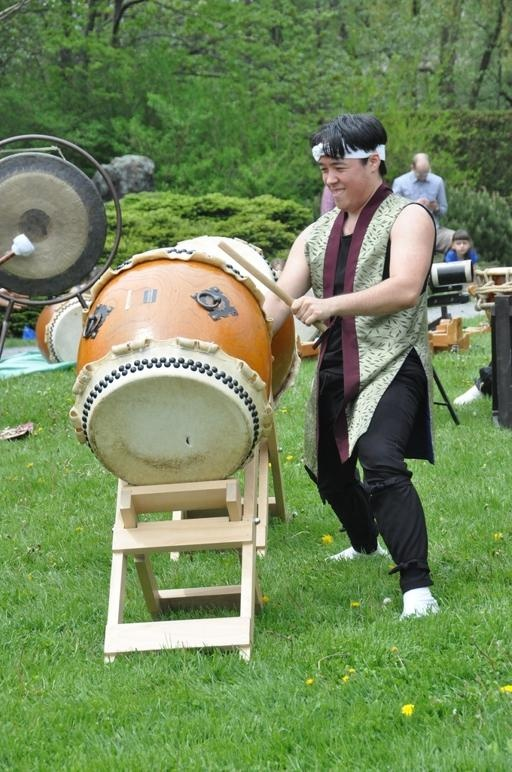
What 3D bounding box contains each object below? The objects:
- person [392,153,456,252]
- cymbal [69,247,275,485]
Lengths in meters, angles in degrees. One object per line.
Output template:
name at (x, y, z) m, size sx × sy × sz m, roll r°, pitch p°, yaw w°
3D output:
person at (1.809, -1.954, 9.769) m, size 0.848 × 1.056 × 0.669 m, roll -5°, pitch 33°, yaw -2°
cymbal at (-0.257, -0.050, 2.750) m, size 0.607 × 0.741 × 0.392 m, roll -8°, pitch 8°, yaw 1°
